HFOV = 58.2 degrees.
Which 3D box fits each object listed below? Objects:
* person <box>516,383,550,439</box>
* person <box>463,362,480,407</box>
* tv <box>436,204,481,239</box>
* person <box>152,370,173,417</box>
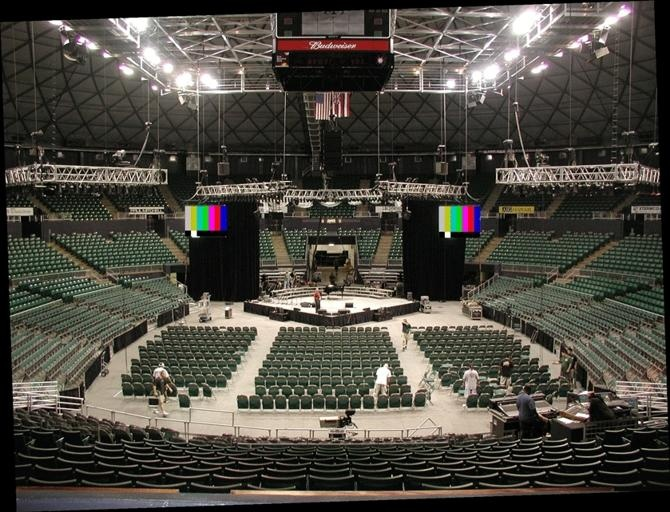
[{"bbox_3d":[4.687,3.879,14.514,0.587,1.553,0.576,-5,6,24],"label":"person"},{"bbox_3d":[4.153,3.860,18.682,0.428,1.470,0.393,-5,28,1],"label":"person"},{"bbox_3d":[5.865,-1.630,29.084,2.356,2.003,1.289,0,-4,2],"label":"tv"},{"bbox_3d":[-5.336,4.013,18.599,0.735,1.662,0.519,-9,-17,19],"label":"person"}]
